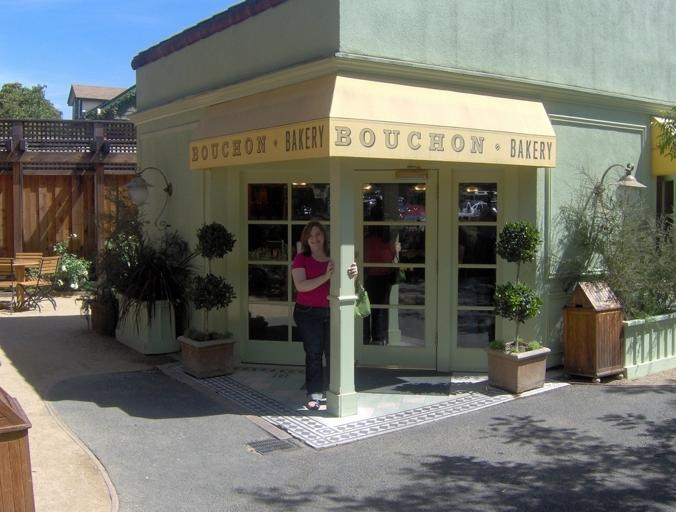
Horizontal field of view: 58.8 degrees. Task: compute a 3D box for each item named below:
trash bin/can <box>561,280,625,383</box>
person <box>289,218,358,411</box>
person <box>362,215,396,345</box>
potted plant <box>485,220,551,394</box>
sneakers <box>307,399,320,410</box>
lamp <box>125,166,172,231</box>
[{"bbox_3d":[3.560,1.011,8.339,0.748,1.301,0.713,0,-2,-13],"label":"trash bin/can"},{"bbox_3d":[-0.312,0.700,7.367,0.471,2.235,0.682,-1,7,-4],"label":"person"},{"bbox_3d":[0.598,0.424,8.704,0.481,1.709,0.134,0,7,2],"label":"person"},{"bbox_3d":[2.374,0.636,7.885,0.714,2.172,0.832,5,9,36],"label":"potted plant"},{"bbox_3d":[-0.310,1.788,7.309,0.164,0.091,0.189,-1,7,-5],"label":"sneakers"},{"bbox_3d":[-3.383,-1.061,10.665,0.789,1.102,0.475,-2,1,-17],"label":"lamp"}]
